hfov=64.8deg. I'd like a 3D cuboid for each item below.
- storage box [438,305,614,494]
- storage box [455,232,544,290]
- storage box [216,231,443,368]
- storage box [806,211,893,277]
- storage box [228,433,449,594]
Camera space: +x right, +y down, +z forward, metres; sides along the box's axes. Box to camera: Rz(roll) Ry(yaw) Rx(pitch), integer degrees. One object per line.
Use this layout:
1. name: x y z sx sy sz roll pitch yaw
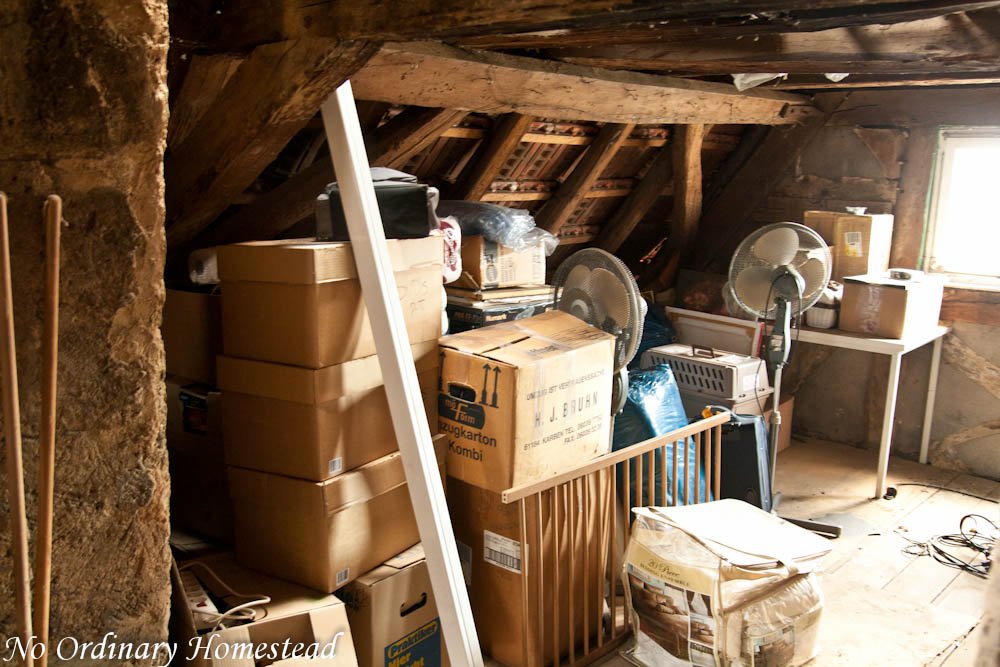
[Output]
1. storage box: 0.143 0.272 3.570 0.727 0.858 0.661 -12 19 -40
2. storage box: 0.008 -0.329 3.850 0.505 0.212 0.256 -5 9 -43
3. storage box: -0.695 -0.140 3.022 0.568 0.366 0.786 7 12 36
4. storage box: 2.244 -0.572 5.280 0.471 0.546 0.619 -9 9 -41
5. storage box: -0.643 0.714 3.092 0.587 0.319 0.590 6 12 38
